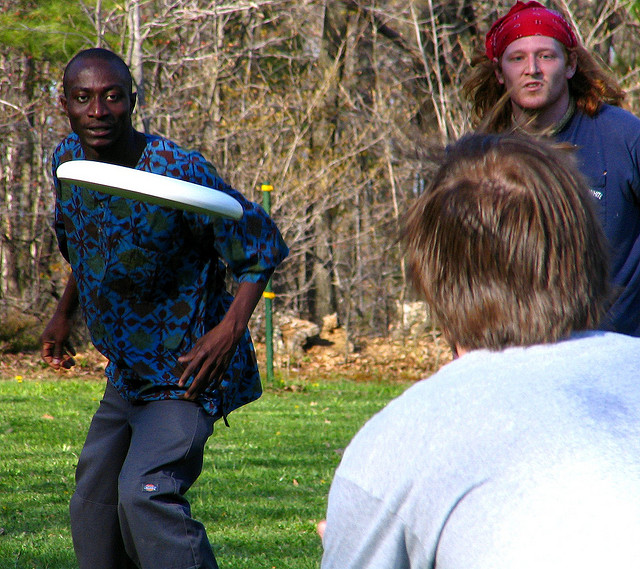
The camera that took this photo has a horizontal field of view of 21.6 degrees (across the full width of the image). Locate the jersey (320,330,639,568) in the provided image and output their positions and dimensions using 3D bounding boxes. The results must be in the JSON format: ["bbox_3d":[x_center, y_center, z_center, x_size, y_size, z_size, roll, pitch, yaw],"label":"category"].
[{"bbox_3d":[0.806,0.827,8.143,1.367,1.168,0.719,-5,13,11],"label":"jersey"}]

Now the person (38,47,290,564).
[{"bbox_3d":[-0.943,0.098,9.509,1.260,2.237,1.529,0,0,-9],"label":"person"}]

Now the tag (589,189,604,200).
[{"bbox_3d":[1.541,-0.509,9.351,0.059,0.050,0.123,0,0,27],"label":"tag"}]
